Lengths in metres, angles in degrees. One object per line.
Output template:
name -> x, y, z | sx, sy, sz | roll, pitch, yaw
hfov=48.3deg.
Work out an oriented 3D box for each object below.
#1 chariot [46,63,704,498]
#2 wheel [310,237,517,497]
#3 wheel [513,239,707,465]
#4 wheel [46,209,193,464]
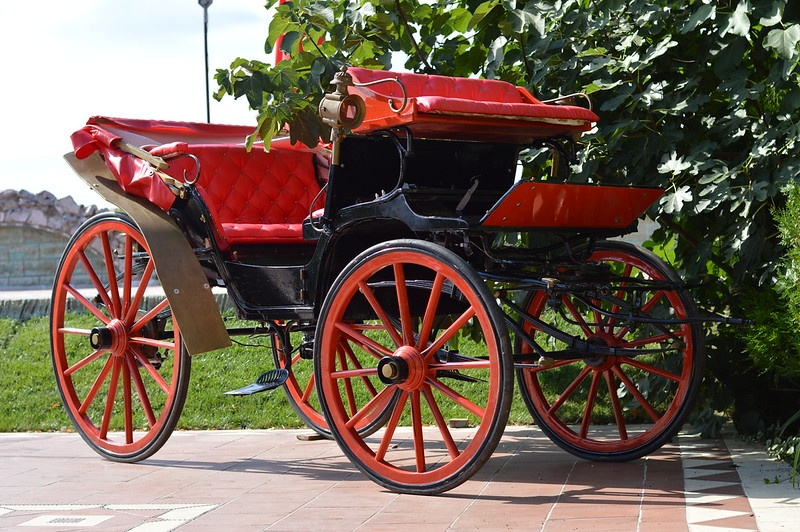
chariot -> -0.361, 0.113, 6.688 | 4.486, 2.340, 2.837 | 2, 4, 43
wheel -> 0.056, 0.620, 5.457 | 0.505, 1.552, 1.720 | -2, 8, -42
wheel -> 1.465, 0.594, 6.129 | 1.724, 1.565, 0.363 | -3, -3, 29
wheel -> -2.220, 0.645, 7.102 | 0.691, 1.903, 2.075 | -1, 15, -44
